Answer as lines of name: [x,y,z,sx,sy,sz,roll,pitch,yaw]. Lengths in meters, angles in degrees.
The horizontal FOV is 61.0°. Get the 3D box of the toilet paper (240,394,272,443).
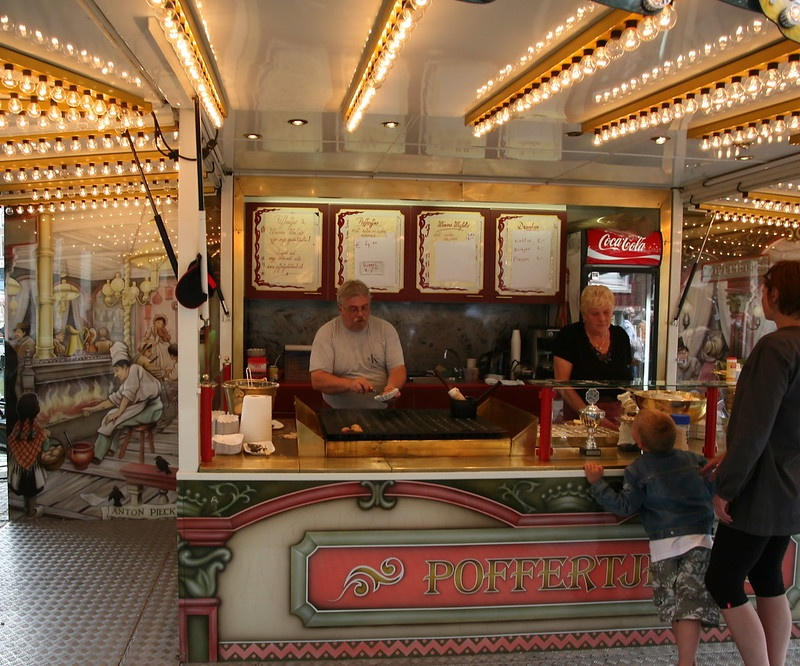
toilet paper: [-0.832,0.490,3.923,0.178,0.264,0.148,-4,6,-16]

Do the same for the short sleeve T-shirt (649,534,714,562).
short sleeve T-shirt: [1.428,1.070,3.447,0.242,0.084,0.171,0,-2,4]

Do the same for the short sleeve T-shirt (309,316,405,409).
short sleeve T-shirt: [-0.300,0.218,4.679,0.829,0.804,0.459,-1,6,-17]

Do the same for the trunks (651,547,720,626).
trunks: [1.444,1.268,3.409,0.268,0.435,0.343,12,-20,-41]

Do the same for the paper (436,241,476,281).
paper: [0.572,-0.660,6.393,0.531,0.438,0.181,5,8,34]

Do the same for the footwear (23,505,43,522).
footwear: [-3.020,1.493,5.605,0.071,0.183,0.074,15,4,-8]

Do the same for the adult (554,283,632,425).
adult: [1.192,0.120,4.296,0.516,0.799,1.390,0,7,18]

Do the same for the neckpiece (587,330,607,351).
neckpiece: [1.403,0.059,4.823,0.116,0.122,0.145,-2,-3,-1]

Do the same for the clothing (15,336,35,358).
clothing: [-3.034,0.115,5.514,0.175,0.158,0.155,11,-8,-40]

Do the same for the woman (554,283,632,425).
woman: [1.199,0.120,4.294,0.517,0.799,1.385,0,7,17]

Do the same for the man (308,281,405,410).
man: [-0.236,0.113,4.513,0.653,0.919,0.723,-5,7,-28]

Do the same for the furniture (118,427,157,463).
furniture: [-2.171,0.926,5.687,0.287,0.342,0.313,0,-6,25]

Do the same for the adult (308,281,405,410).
adult: [-0.239,0.113,4.518,0.653,0.919,0.711,-5,7,-28]
